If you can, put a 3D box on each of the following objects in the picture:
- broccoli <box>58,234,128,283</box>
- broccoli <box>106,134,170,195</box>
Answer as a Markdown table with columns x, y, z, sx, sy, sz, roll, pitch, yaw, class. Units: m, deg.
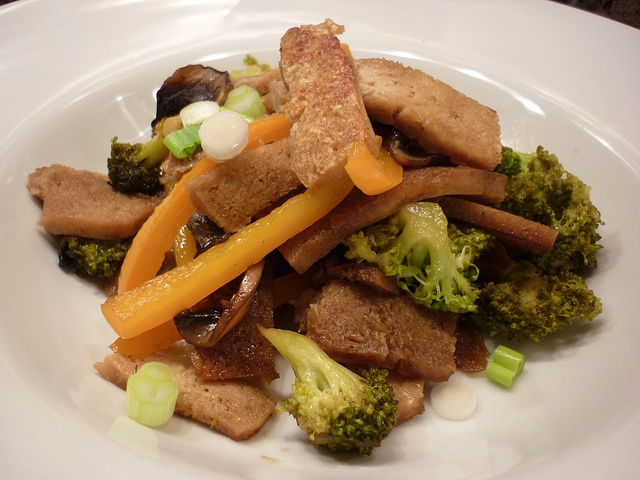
| x | y | z | sx | sy | sz | roll | pitch | yaw | class |
| --- | --- | --- | --- | --- | --- | --- | --- | --- | --- |
| -1.295 | 0.110 | 3.573 | 0.391 | 0.108 | 0.352 | -15 | 59 | -35 | broccoli |
| -1.112 | -0.431 | 3.520 | 0.277 | 0.128 | 0.367 | 1 | 99 | -2 | broccoli |
